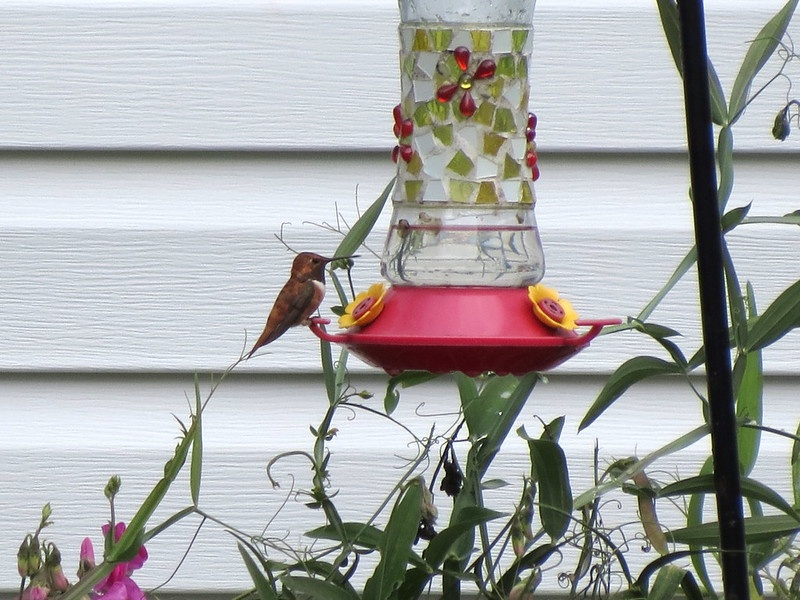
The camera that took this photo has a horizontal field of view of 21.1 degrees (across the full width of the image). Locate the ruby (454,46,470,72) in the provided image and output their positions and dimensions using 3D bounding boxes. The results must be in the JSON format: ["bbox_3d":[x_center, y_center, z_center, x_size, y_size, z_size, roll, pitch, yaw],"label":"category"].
[{"bbox_3d":[0.104,-0.413,3.684,0.029,0.030,0.042,-19,-68,-25],"label":"ruby"}]

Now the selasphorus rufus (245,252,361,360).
[{"bbox_3d":[-0.169,-0.003,3.664,0.204,0.160,0.088,-7,4,-3],"label":"selasphorus rufus"}]

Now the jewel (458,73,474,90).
[{"bbox_3d":[0.112,-0.376,3.691,0.026,0.028,0.024,-13,-77,20],"label":"jewel"}]

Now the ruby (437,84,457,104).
[{"bbox_3d":[0.080,-0.356,3.701,0.036,0.030,0.039,2,-32,-2],"label":"ruby"}]

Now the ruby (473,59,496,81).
[{"bbox_3d":[0.144,-0.395,3.690,0.037,0.024,0.039,1,-32,0],"label":"ruby"}]
